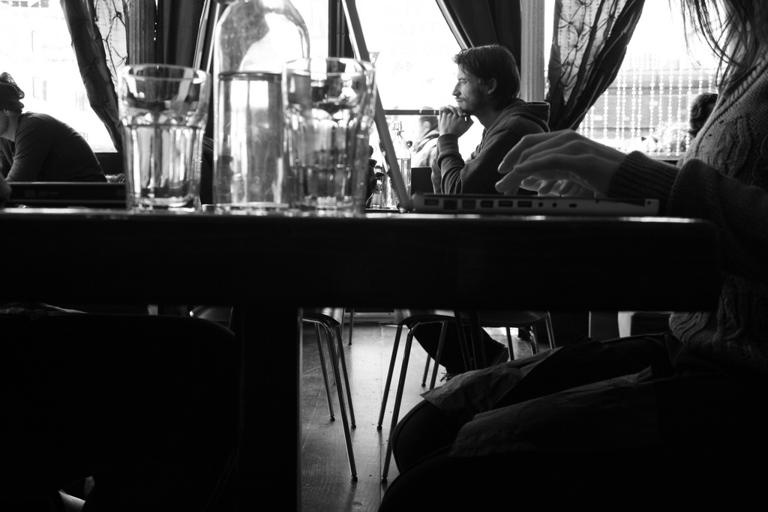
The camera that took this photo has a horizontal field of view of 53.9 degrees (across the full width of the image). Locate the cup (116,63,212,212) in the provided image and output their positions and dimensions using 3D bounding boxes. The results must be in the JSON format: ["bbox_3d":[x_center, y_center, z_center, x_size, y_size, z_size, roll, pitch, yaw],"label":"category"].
[{"bbox_3d":[-0.278,-0.149,0.958,0.114,0.178,0.093,0,5,-23],"label":"cup"}]

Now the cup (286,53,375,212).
[{"bbox_3d":[-0.066,-0.138,0.869,0.109,0.175,0.055,2,4,-4],"label":"cup"}]
